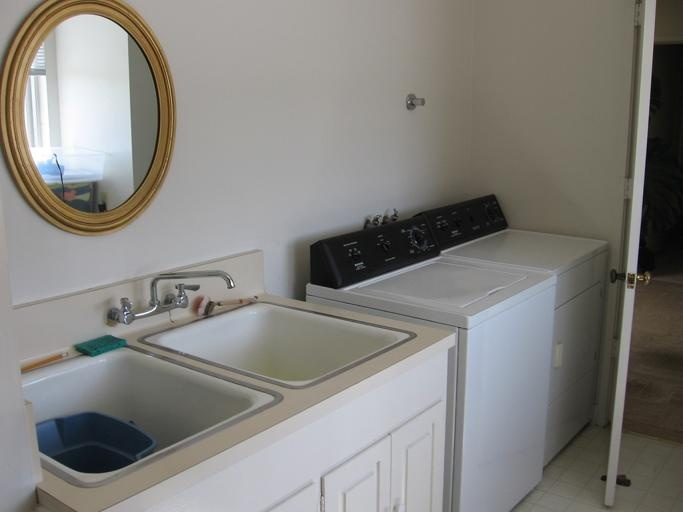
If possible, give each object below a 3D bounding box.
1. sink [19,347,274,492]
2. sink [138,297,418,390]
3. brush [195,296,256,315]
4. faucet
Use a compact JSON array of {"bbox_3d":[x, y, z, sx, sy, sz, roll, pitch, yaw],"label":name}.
[{"bbox_3d":[-0.576,0.374,1.488,0.493,0.211,0.382,10,10,43],"label":"sink"},{"bbox_3d":[-0.310,0.216,1.814,0.422,0.228,0.541,12,10,35],"label":"sink"},{"bbox_3d":[-0.464,0.175,1.999,0.190,0.052,0.071,-4,9,-36],"label":"brush"},{"bbox_3d":[-0.607,0.160,1.759,0.222,0.125,0.285,7,12,22],"label":"faucet"}]
